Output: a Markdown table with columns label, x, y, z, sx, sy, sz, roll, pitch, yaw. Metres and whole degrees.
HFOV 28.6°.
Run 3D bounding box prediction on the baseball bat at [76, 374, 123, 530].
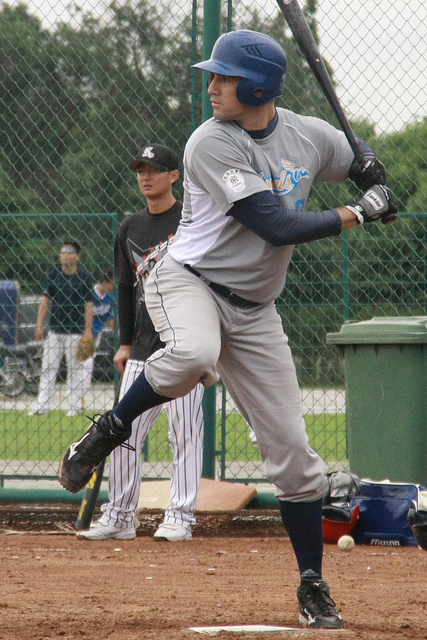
| label | x | y | z | sx | sy | sz | roll | pitch | yaw |
| --- | --- | --- | --- | --- | --- | --- | --- | --- | --- |
| baseball bat | -0.572 | 0.659 | 4.153 | 0.139 | 0.887 | 0.136 | 11 | 9 | -32 |

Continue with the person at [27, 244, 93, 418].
| label | x | y | z | sx | sy | sz | roll | pitch | yaw |
| --- | --- | --- | --- | --- | --- | --- | --- | --- | --- |
| person | -1.273 | 0.063 | 7.348 | 0.563 | 1.495 | 0.384 | 6 | 14 | 12 |

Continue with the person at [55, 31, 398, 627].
| label | x | y | z | sx | sy | sz | roll | pitch | yaw |
| --- | --- | --- | --- | --- | --- | --- | --- | --- | --- |
| person | 0.074 | 0.002 | 2.507 | 0.902 | 1.585 | 0.680 | 7 | -14 | -18 |

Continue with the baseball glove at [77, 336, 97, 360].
| label | x | y | z | sx | sy | sz | roll | pitch | yaw |
| --- | --- | --- | --- | --- | --- | --- | --- | --- | --- |
| baseball glove | -1.162 | 0.255 | 7.612 | 0.084 | 0.215 | 0.164 | 7 | 2 | -37 |
